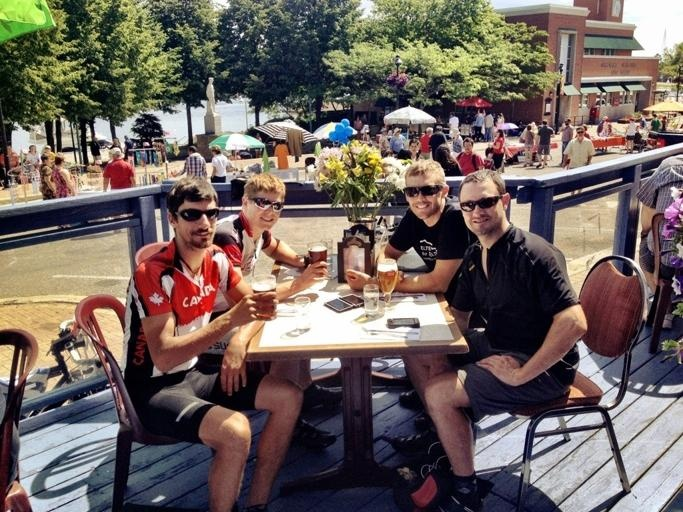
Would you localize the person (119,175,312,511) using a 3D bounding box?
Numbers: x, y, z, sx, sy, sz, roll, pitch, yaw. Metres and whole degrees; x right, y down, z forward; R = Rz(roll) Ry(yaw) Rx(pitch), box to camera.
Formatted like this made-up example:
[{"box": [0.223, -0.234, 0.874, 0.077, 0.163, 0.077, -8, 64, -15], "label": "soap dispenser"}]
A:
[{"box": [-0.710, 0.512, 2.584, 0.836, 1.797, 0.686, 7, 17, 40], "label": "person"}]

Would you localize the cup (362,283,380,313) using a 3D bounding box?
[{"box": [0.154, 0.252, 2.717, 0.101, 0.164, 0.101, 0, 0, 0], "label": "cup"}]

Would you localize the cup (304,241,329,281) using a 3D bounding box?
[{"box": [-0.155, 0.037, 3.132, 0.127, 0.205, 0.127, 1, 19, 0], "label": "cup"}]

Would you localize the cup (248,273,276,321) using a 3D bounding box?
[{"box": [-0.410, 0.224, 2.573, 0.143, 0.225, 0.140, -1, 30, 1], "label": "cup"}]

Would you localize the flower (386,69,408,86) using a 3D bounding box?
[{"box": [2.687, -8.415, 23.774, 0.950, 0.637, 0.960, -1, 25, 1], "label": "flower"}]

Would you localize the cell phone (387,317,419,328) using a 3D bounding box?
[{"box": [0.323, 0.351, 2.589, 0.169, 0.037, 0.106, -4, 13, 1], "label": "cell phone"}]

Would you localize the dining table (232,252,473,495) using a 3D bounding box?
[{"box": [0.022, 0.770, 2.654, 1.001, 0.886, 1.009, -2, 15, -1], "label": "dining table"}]

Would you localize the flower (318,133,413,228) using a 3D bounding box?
[{"box": [0.117, -0.504, 3.470, 0.522, 0.510, 0.577, 0, -5, -7], "label": "flower"}]

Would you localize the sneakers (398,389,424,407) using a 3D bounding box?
[{"box": [0.487, 1.015, 3.535, 0.083, 0.099, 0.227, -7, 11, -22], "label": "sneakers"}]
